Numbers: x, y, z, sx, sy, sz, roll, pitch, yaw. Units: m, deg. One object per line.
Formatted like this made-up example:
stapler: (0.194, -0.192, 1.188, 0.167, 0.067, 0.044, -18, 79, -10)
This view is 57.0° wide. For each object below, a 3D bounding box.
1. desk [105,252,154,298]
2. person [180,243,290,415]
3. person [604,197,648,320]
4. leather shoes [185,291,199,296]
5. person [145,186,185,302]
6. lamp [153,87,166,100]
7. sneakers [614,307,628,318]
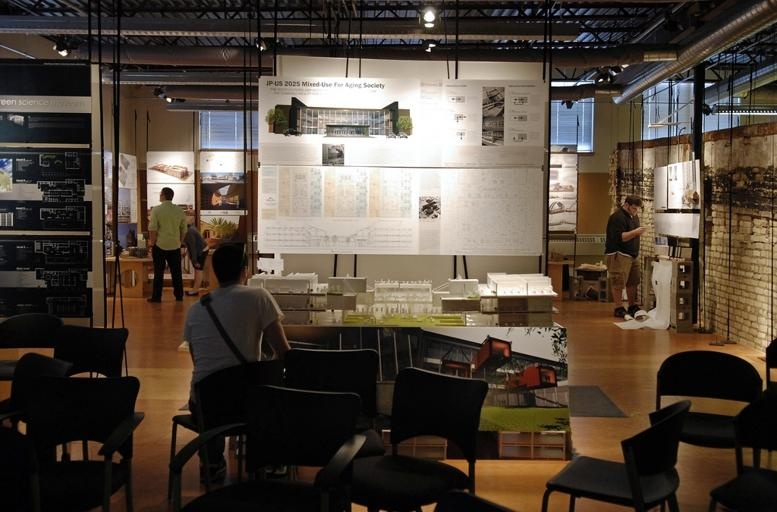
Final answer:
desk: (-5.589, 0.400, 15.047, 0.653, 0.451, 0.706, 11, -3, 34)
person: (-1.471, 0.676, 6.920, 0.967, 1.579, 0.451, -1, 4, -16)
person: (4.300, 0.016, 13.167, 0.622, 2.231, 0.575, 1, 4, 16)
leather shoes: (-4.213, 0.796, 15.299, 0.328, 0.130, 0.126, 5, 5, 27)
person: (-4.313, -0.199, 13.999, 0.714, 2.251, 1.077, -1, 4, -19)
lamp: (-4.883, -3.490, 15.415, 0.269, 0.340, 0.296, -5, 19, -12)
sneakers: (4.313, 1.041, 13.296, 0.138, 0.148, 0.229, 0, -5, -2)
